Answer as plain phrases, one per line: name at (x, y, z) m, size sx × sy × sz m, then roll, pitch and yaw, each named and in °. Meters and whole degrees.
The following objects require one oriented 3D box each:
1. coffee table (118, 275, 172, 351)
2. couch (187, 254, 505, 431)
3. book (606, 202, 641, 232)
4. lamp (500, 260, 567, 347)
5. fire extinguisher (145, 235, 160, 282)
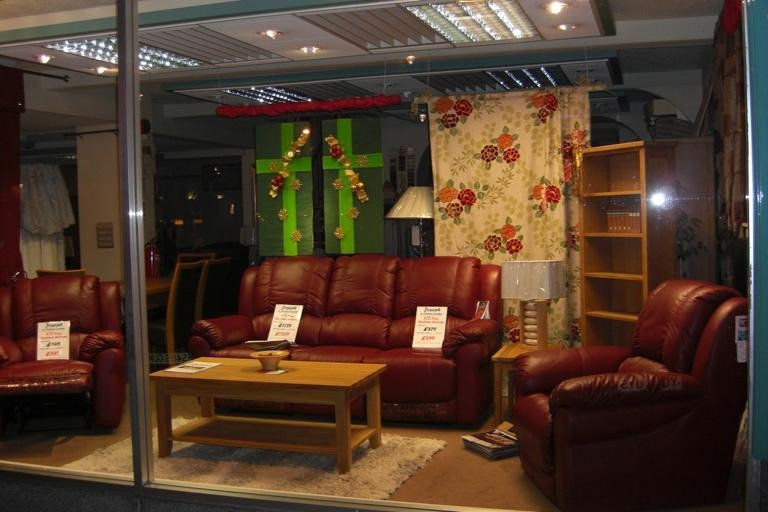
coffee table at (-2.267, 0.447, 5.322) m, size 0.558 × 0.478 × 0.401 m, roll -2°, pitch -13°, yaw -17°
couch at (-0.320, 0.650, 5.163) m, size 2.719 × 1.301 × 1.144 m, roll -1°, pitch 1°, yaw 21°
book at (1.885, -0.273, 4.456) m, size 0.293 × 0.257 × 0.216 m, roll -1°, pitch -2°, yaw 42°
lamp at (1.356, 0.461, 4.701) m, size 0.439 × 0.724 × 0.426 m, roll 20°, pitch -1°, yaw 19°
fire extinguisher at (-2.146, 0.020, 5.225) m, size 0.138 × 0.371 × 0.070 m, roll 0°, pitch 3°, yaw -5°
